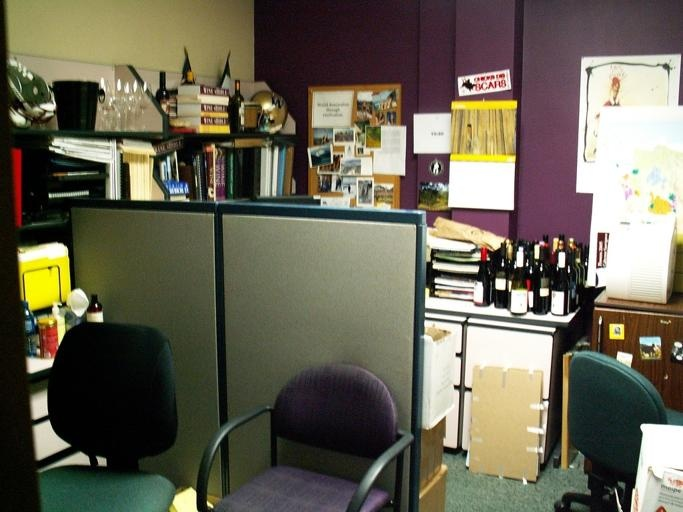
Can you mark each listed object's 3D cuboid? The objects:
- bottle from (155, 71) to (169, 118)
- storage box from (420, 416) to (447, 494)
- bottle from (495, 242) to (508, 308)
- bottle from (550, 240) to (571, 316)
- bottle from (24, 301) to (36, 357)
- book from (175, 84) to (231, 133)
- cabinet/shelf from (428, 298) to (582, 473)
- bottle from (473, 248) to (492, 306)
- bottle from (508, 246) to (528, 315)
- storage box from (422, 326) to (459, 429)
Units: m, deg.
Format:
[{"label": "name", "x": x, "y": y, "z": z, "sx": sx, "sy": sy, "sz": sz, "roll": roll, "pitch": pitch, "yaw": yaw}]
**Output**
[{"label": "bottle", "x": -1.209, "y": -1.113, "z": 3.907, "sx": 0.089, "sy": 0.280, "sz": 0.213, "roll": -2, "pitch": 9, "yaw": -15}, {"label": "storage box", "x": 0.407, "y": 0.866, "z": 2.629, "sx": 0.136, "sy": 0.293, "sz": 0.277, "roll": -6, "pitch": 0, "yaw": 0}, {"label": "bottle", "x": 0.960, "y": 0.109, "z": 3.479, "sx": 0.088, "sy": 0.414, "sz": 0.088, "roll": -2, "pitch": 13, "yaw": 0}, {"label": "bottle", "x": 1.299, "y": 0.136, "z": 3.436, "sx": 0.105, "sy": 0.382, "sz": 0.306, "roll": 4, "pitch": 10, "yaw": 22}, {"label": "bottle", "x": -1.395, "y": 0.317, "z": 2.607, "sx": 0.040, "sy": 0.270, "sz": 0.293, "roll": -4, "pitch": 11, "yaw": -27}, {"label": "book", "x": -0.969, "y": -1.007, "z": 3.960, "sx": 0.388, "sy": 0.300, "sz": 0.220, "roll": -3, "pitch": 10, "yaw": -17}, {"label": "cabinet/shelf", "x": 1.002, "y": 0.602, "z": 3.729, "sx": 0.994, "sy": 1.169, "sz": 0.782, "roll": 3, "pitch": 4, "yaw": 26}, {"label": "bottle", "x": 0.876, "y": 0.140, "z": 3.570, "sx": 0.101, "sy": 0.311, "sz": 0.205, "roll": 8, "pitch": 12, "yaw": 41}, {"label": "bottle", "x": 1.059, "y": 0.128, "z": 3.439, "sx": 0.109, "sy": 0.387, "sz": 0.292, "roll": 3, "pitch": 10, "yaw": 19}, {"label": "storage box", "x": 0.394, "y": 0.485, "z": 2.349, "sx": 0.065, "sy": 0.378, "sz": 0.242, "roll": 5, "pitch": 10, "yaw": 29}]
